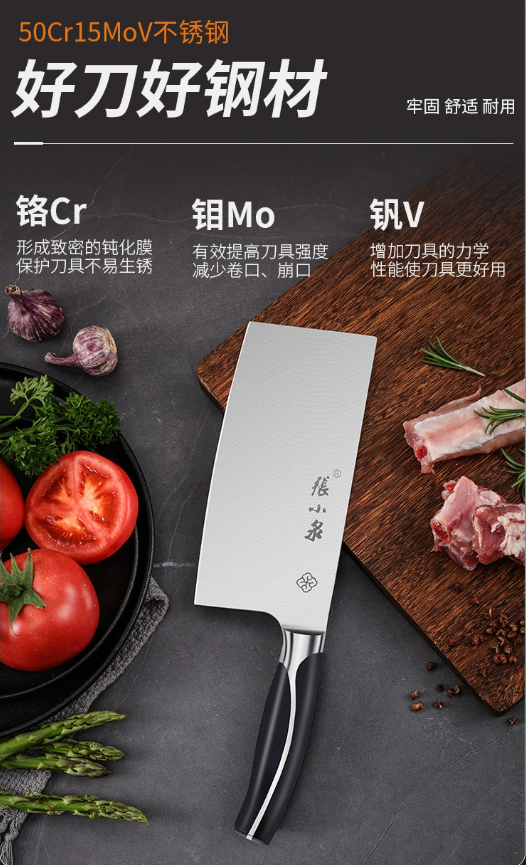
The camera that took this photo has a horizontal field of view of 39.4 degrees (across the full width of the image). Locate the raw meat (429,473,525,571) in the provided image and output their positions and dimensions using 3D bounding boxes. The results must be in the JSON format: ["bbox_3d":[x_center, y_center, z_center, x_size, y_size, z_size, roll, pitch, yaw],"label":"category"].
[{"bbox_3d":[0.281,0.125,1.026,0.138,0.105,0.059,7,-8,7],"label":"raw meat"}]

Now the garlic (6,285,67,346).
[{"bbox_3d":[-0.363,-0.189,1.180,0.089,0.087,0.096,-19,-13,-10],"label":"garlic"}]

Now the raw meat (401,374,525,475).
[{"bbox_3d":[0.289,-0.008,1.128,0.216,0.090,0.059,-21,-13,4],"label":"raw meat"}]

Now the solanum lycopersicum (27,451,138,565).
[{"bbox_3d":[-0.252,0.102,1.024,0.153,0.124,0.095,7,31,15],"label":"solanum lycopersicum"}]
